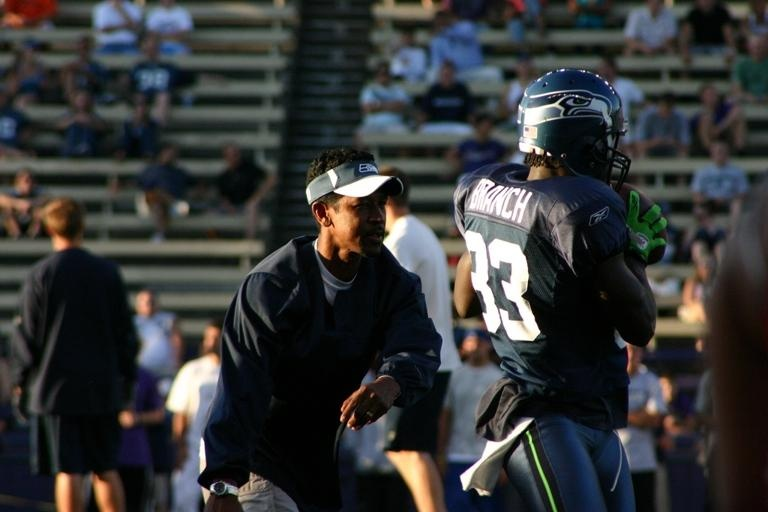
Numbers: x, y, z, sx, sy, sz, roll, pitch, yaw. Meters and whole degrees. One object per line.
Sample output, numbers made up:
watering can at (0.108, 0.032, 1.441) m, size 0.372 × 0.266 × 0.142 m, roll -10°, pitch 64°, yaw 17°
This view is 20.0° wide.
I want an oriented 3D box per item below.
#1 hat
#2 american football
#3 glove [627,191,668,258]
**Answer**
hat at (-0.287, -0.637, 19.209) m, size 0.833 × 0.360 × 0.245 m, roll -4°, pitch 10°, yaw -1°
american football at (2.250, -0.287, 18.978) m, size 0.344 × 0.709 × 0.301 m, roll 1°, pitch 9°, yaw 3°
glove at (2.274, -0.236, 18.974) m, size 0.392 × 0.514 × 0.203 m, roll 33°, pitch -38°, yaw -13°
